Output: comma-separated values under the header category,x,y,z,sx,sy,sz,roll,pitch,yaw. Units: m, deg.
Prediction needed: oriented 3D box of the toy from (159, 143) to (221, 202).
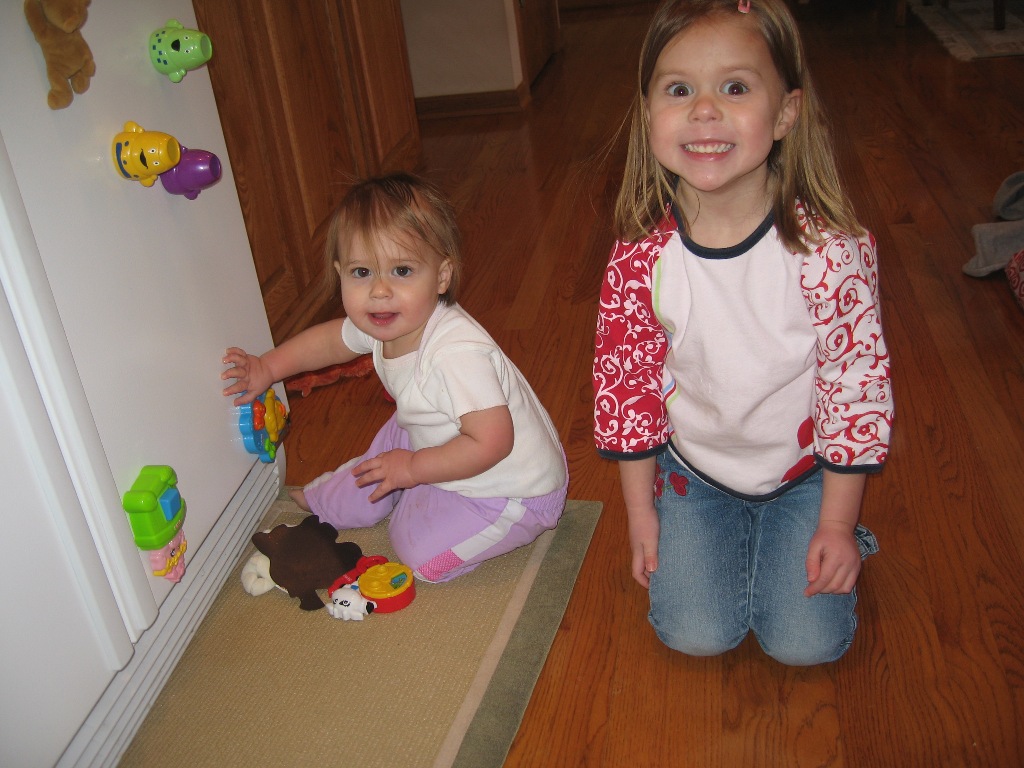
category,x,y,z,sx,sy,sz,roll,pitch,yaw
toy,-0.460,-0.304,1.200,0.072,0.062,0.081,-9,-8,0

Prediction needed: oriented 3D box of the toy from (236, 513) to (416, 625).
category,x,y,z,sx,sy,sz,roll,pitch,yaw
toy,-0.312,0.319,1.414,0.201,0.051,0.152,20,32,18

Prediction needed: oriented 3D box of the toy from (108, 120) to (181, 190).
category,x,y,z,sx,sy,sz,roll,pitch,yaw
toy,-0.491,-0.316,1.136,0.062,0.081,0.091,-3,32,12

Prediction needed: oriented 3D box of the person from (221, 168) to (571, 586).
category,x,y,z,sx,sy,sz,roll,pitch,yaw
person,-0.185,-0.123,1.578,0.647,0.796,0.548,-11,37,-20

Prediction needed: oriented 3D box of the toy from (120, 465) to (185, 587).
category,x,y,z,sx,sy,sz,roll,pitch,yaw
toy,-0.488,0.186,1.125,0.047,0.147,0.098,2,45,6
